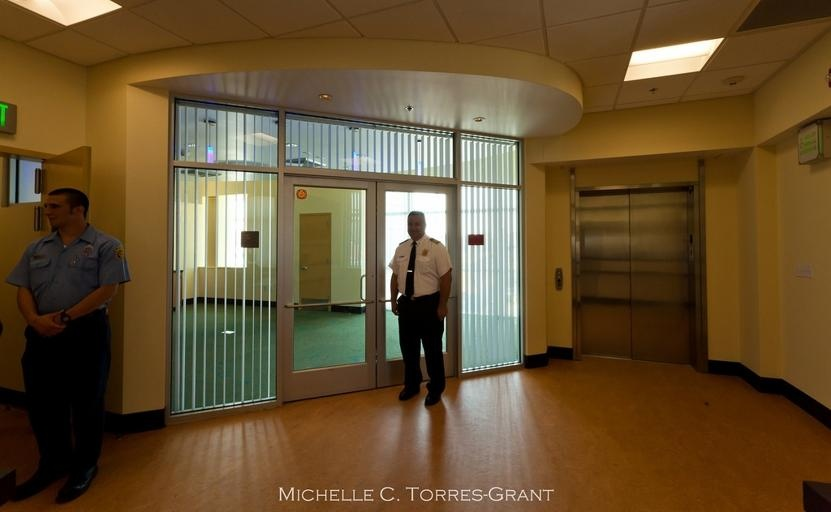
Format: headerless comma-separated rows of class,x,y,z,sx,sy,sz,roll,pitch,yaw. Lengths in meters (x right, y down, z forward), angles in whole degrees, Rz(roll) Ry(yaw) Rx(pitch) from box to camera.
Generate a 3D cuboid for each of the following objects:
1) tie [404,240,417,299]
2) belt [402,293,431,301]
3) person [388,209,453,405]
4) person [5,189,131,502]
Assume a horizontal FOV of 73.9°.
tie,-0.065,0.188,7.287,0.137,0.747,0.059,12,10,38
belt,0.012,0.530,7.272,0.418,0.097,0.071,2,3,12
person,0.045,0.650,7.322,0.814,2.508,0.442,1,2,7
person,-3.697,0.875,5.849,1.096,3.206,0.559,1,2,1
